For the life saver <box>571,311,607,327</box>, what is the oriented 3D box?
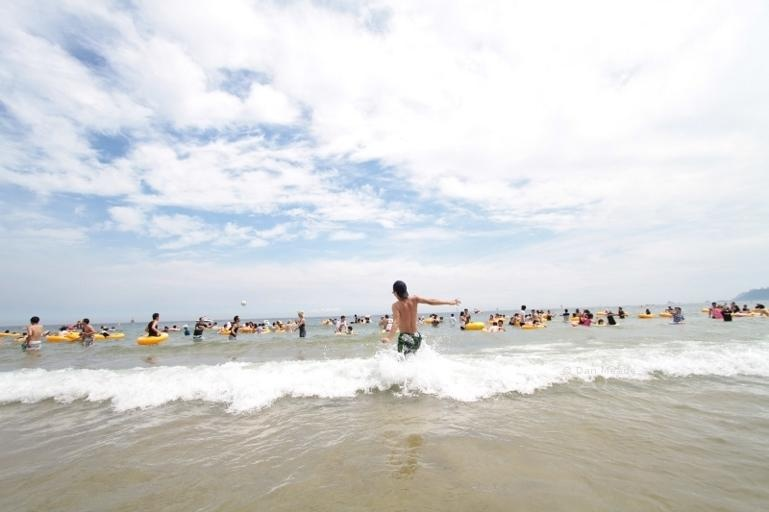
[{"bbox_3d":[10.884,3.452,22.952,1.644,0.502,1.143,-1,-8,8],"label":"life saver"}]
